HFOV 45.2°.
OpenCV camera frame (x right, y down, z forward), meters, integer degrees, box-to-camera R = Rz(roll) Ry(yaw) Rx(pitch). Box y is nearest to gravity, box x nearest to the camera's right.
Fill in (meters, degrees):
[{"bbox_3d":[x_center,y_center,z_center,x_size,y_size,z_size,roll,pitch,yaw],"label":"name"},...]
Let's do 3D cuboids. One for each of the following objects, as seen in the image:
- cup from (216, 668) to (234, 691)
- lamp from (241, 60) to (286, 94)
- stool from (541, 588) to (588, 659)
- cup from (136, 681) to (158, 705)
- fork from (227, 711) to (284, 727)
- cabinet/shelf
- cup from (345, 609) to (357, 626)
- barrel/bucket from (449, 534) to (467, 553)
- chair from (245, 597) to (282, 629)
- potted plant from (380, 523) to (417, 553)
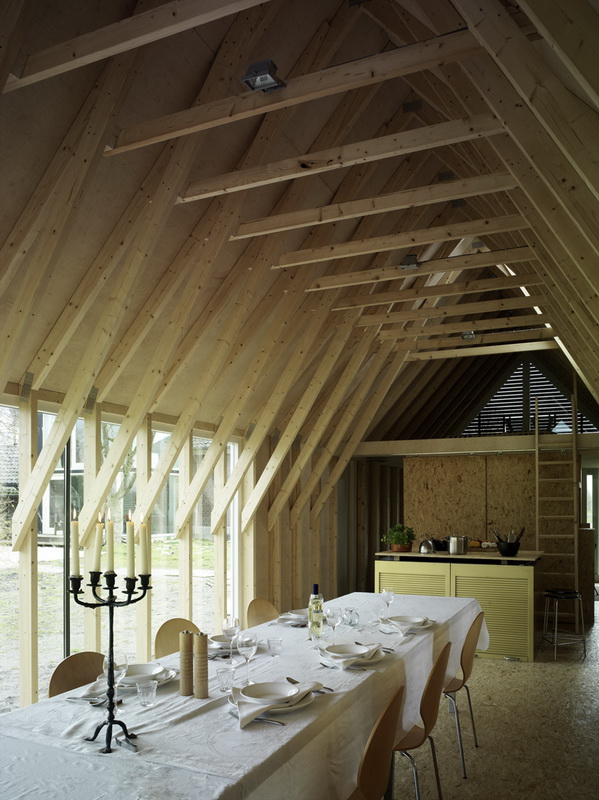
[{"bbox_3d":[-0.269,0.963,2.489,0.065,0.074,0.067,0,-14,0],"label":"cup"},{"bbox_3d":[-0.140,-1.284,2.846,0.162,0.134,0.162,2,-14,5],"label":"lamp"},{"bbox_3d":[2.525,2.143,6.818,0.386,0.594,0.385,-9,-13,29],"label":"stool"},{"bbox_3d":[-0.479,0.920,2.281,0.064,0.072,0.097,-1,-9,0],"label":"cup"},{"bbox_3d":[-0.129,0.939,2.110,0.129,0.024,0.028,3,-2,7],"label":"fork"},{"bbox_3d":[1.349,1.838,6.404,1.368,0.873,0.482,-1,-3,13],"label":"cabinet/shelf"},{"bbox_3d":[0.248,1.060,3.521,0.066,0.079,0.064,-2,0,0],"label":"cup"},{"bbox_3d":[1.471,1.330,6.659,0.146,0.152,0.156,1,-10,0],"label":"barrel/bucket"},{"bbox_3d":[-0.213,1.288,4.384,0.185,0.267,0.187,5,-8,-38],"label":"chair"},{"bbox_3d":[0.961,1.339,6.947,0.268,0.257,0.387,-1,-10,2],"label":"potted plant"}]
